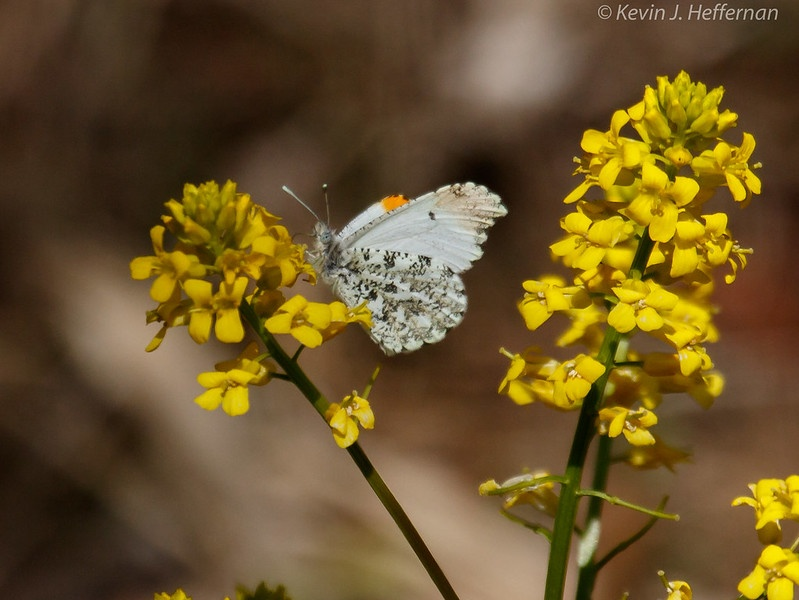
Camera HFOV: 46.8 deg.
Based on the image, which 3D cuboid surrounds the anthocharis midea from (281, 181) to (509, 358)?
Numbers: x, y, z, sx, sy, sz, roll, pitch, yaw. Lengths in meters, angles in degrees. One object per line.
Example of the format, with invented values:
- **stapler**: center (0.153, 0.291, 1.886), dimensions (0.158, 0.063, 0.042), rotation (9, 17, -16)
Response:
- **anthocharis midea**: center (0.008, -0.063, 1.841), dimensions (0.350, 0.262, 0.385), rotation (19, -5, -32)

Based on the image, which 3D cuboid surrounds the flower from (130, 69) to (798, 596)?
- **flower**: center (0.122, 0.104, 1.574), dimensions (1.004, 0.791, 0.563), rotation (1, -12, 5)
